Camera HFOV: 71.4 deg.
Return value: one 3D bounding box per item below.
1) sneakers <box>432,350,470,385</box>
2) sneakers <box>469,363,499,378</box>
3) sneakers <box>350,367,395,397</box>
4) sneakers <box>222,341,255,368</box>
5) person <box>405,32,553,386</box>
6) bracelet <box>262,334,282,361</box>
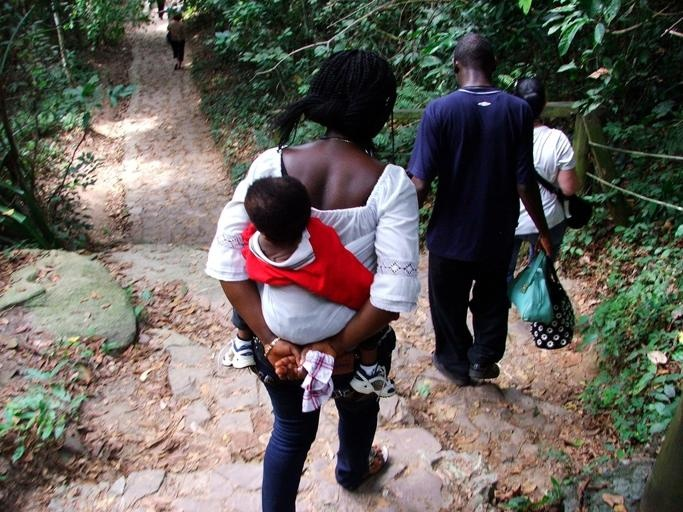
[{"bbox_3d":[0.875,0.935,3.942,0.127,0.166,0.380,-30,56,-24],"label":"sneakers"},{"bbox_3d":[1.120,0.913,3.764,0.138,0.092,0.067,-13,45,-10],"label":"sneakers"},{"bbox_3d":[0.156,0.628,2.418,0.231,0.146,0.120,19,7,-21],"label":"sneakers"},{"bbox_3d":[-0.555,0.495,2.494,0.101,0.139,0.283,0,12,-26],"label":"sneakers"},{"bbox_3d":[0.967,-0.217,3.570,0.818,2.515,0.643,-20,27,-34],"label":"person"},{"bbox_3d":[-0.313,0.426,2.207,0.092,0.034,0.069,-47,48,-5],"label":"bracelet"}]
